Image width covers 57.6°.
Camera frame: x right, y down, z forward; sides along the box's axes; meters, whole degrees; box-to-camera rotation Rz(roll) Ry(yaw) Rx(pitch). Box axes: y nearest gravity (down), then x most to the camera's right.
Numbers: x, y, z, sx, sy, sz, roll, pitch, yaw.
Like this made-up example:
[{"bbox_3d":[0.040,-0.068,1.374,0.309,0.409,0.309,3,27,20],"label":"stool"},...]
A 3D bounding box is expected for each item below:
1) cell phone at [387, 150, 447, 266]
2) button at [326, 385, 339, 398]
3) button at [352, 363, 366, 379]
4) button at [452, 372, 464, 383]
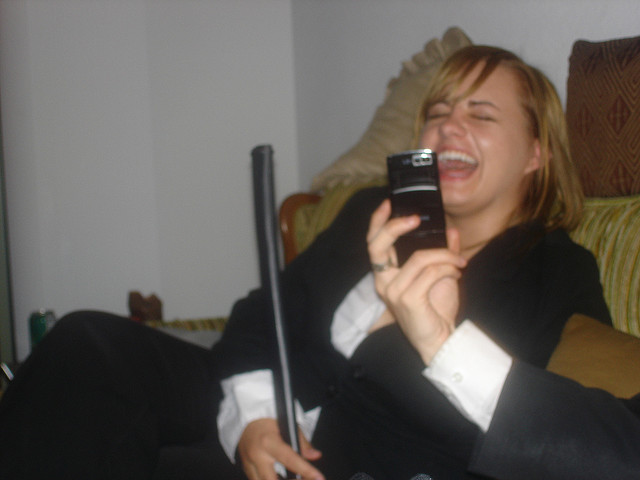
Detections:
[{"bbox_3d":[0.210,-0.056,1.254,0.107,0.288,0.045,-4,-33,6],"label":"cell phone"},{"bbox_3d":[0.030,0.353,1.370,0.025,0.026,0.006,-10,-7,40],"label":"button"},{"bbox_3d":[0.091,0.298,1.336,0.029,0.031,0.016,0,8,7],"label":"button"},{"bbox_3d":[0.262,0.260,1.105,0.018,0.020,0.004,-3,-4,28],"label":"button"}]
